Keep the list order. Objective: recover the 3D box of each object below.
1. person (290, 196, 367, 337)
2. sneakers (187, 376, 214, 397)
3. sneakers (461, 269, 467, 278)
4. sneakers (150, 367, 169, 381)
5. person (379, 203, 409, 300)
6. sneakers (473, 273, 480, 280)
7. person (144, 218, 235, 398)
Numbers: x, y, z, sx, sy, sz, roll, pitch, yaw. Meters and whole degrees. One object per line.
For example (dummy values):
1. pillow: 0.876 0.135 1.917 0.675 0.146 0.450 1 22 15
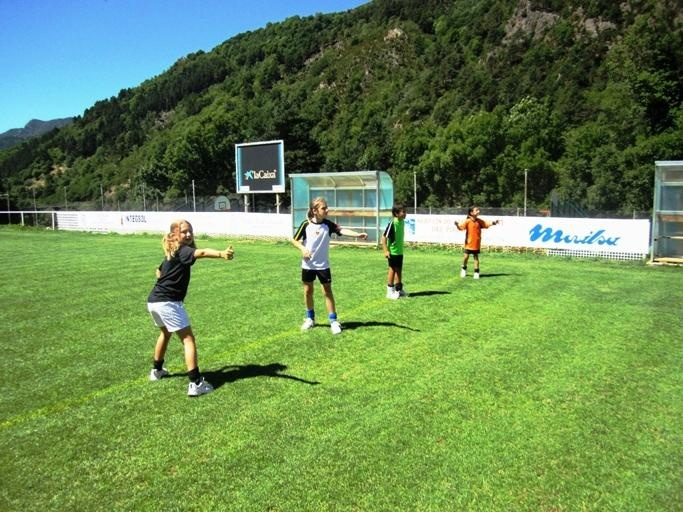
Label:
1. person: -0.354 0.113 8.976 0.928 2.340 1.339 -1 11 -2
2. sneakers: -1.786 1.661 6.528 0.142 0.213 0.388 3 6 34
3. sneakers: 3.236 0.483 13.578 0.171 0.233 0.192 1 1 6
4. sneakers: -2.468 1.612 7.050 0.107 0.152 0.310 11 10 27
5. person: 1.175 -0.092 11.139 0.464 2.046 0.963 1 11 8
6. sneakers: 3.525 0.522 13.291 0.109 0.207 0.190 0 -3 -1
7. person: -2.056 0.635 6.637 1.237 2.160 0.709 10 15 43
